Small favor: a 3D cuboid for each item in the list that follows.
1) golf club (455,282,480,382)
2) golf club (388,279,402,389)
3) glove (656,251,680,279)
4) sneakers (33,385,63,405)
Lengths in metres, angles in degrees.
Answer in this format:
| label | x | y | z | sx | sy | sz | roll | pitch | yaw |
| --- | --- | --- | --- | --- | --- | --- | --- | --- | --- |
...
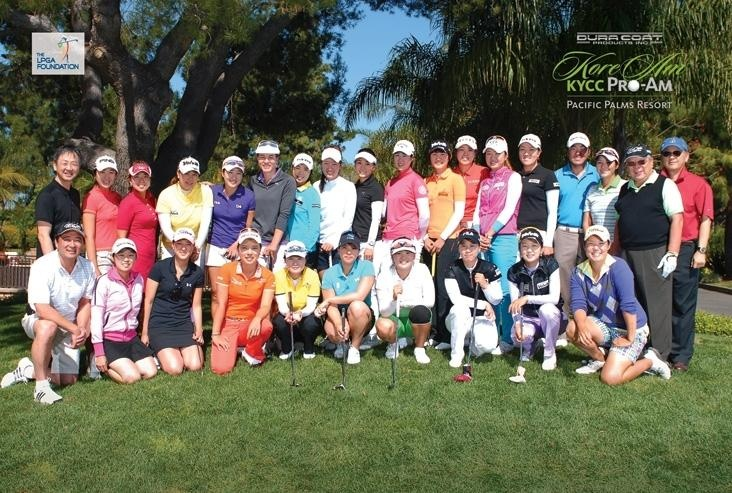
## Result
| label | x | y | z | sx | sy | sz | roll | pitch | yaw |
| --- | --- | --- | --- | --- | --- | --- | --- | --- | --- |
| golf club | 1.660 | 1.486 | 12.014 | 0.273 | 1.507 | 0.383 | 7 | -5 | 8 |
| golf club | 0.487 | 1.566 | 12.473 | 0.235 | 1.465 | 0.084 | 0 | -19 | 11 |
| glove | 4.963 | 0.288 | 11.998 | 0.297 | 0.419 | 0.114 | 5 | 13 | -19 |
| sneakers | -4.965 | 2.299 | 11.266 | 0.391 | 0.192 | 0.213 | 2 | 1 | 28 |
